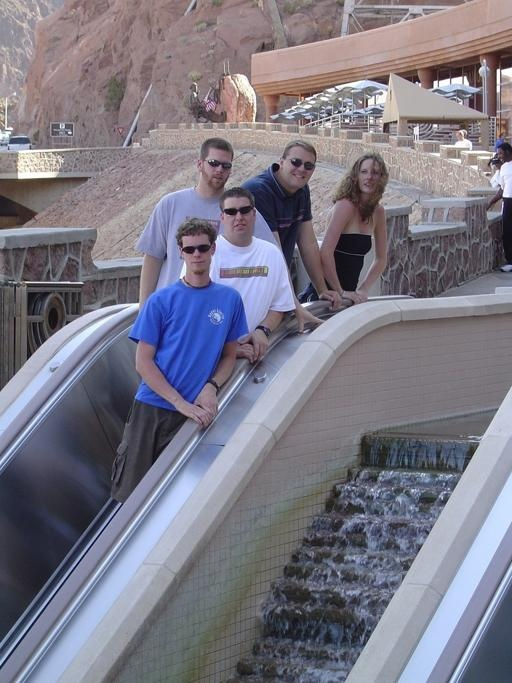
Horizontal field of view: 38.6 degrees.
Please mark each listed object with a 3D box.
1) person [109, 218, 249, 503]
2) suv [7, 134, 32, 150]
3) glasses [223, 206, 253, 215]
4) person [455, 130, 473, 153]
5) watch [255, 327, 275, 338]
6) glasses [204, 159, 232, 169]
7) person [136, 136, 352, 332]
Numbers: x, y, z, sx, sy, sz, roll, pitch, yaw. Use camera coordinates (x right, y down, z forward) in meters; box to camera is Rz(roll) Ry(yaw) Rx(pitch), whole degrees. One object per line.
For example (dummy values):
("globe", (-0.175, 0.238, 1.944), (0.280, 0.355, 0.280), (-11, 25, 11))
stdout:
("person", (-0.363, 0.119, 3.362), (0.693, 1.309, 0.325), (-7, 13, -13))
("suv", (-17.193, -14.307, 53.255), (1.544, 1.001, 2.097), (-7, 13, -16))
("glasses", (-0.082, -0.624, 3.546), (0.134, 0.043, 0.051), (-4, 12, -2))
("person", (6.484, -6.209, 22.839), (0.426, 0.677, 1.685), (0, 13, 17))
("watch", (0.054, -0.053, 3.777), (0.067, 0.075, 0.048), (-42, 24, 36))
("glasses", (-0.164, -0.925, 3.868), (0.098, 0.055, 0.197), (4, 14, 29))
("person", (-0.156, -0.553, 3.933), (0.979, 1.185, 0.581), (-1, -16, -19))
